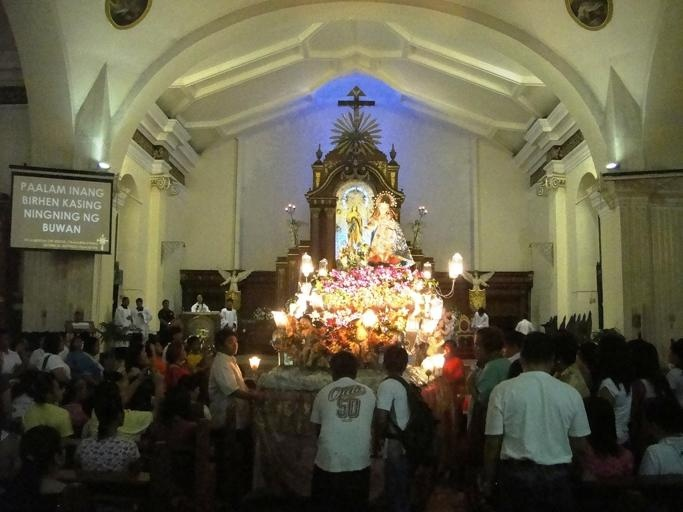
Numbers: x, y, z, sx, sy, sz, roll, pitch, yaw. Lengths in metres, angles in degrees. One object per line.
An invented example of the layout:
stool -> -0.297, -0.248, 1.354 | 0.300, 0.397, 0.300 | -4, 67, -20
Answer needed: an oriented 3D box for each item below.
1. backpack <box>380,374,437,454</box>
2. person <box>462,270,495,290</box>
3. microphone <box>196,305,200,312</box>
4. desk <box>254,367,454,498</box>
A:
backpack -> 0.542, 1.179, 4.448 | 0.371, 0.683, 0.455 | -11, -21, 12
person -> 3.682, 0.685, 16.412 | 0.688, 0.502, 0.151 | 0, -14, 6
microphone -> -3.471, 1.301, 15.074 | 0.168, 0.181, 0.127 | 1, -6, -2
desk -> 0.115, 1.996, 6.631 | 1.348, 1.288, 1.678 | 3, -42, 0
